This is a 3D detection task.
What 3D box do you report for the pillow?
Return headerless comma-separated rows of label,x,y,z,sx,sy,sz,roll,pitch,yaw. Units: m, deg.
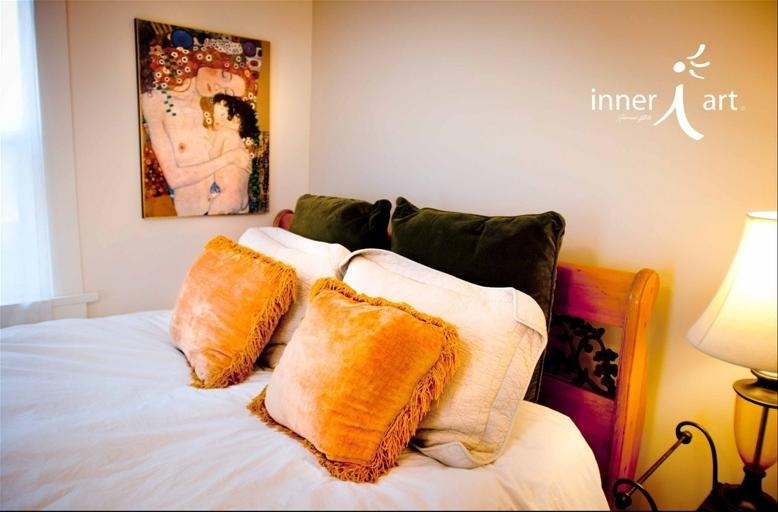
pillow,-0.067,0.352,2.107,1.010,0.530,0.560,12,13,42
